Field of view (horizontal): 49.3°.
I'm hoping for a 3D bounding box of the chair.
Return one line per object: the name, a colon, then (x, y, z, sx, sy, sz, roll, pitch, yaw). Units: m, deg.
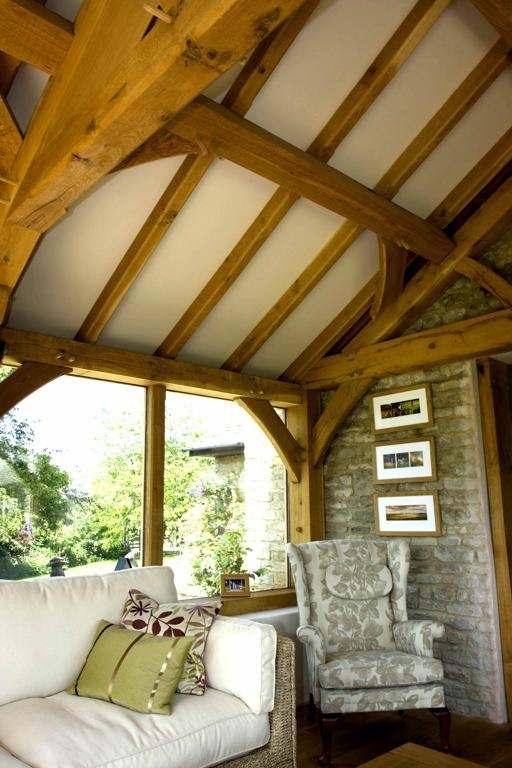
chair: (0.503, 1.638, 3.561, 1.036, 1.377, 1.098, 2, -41, -2)
